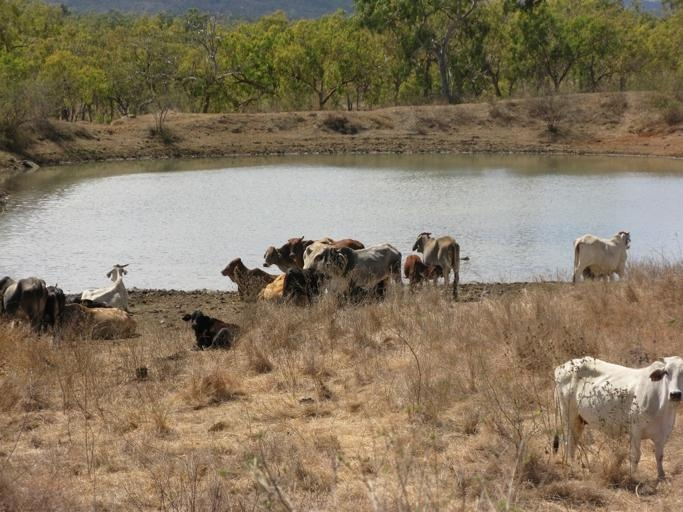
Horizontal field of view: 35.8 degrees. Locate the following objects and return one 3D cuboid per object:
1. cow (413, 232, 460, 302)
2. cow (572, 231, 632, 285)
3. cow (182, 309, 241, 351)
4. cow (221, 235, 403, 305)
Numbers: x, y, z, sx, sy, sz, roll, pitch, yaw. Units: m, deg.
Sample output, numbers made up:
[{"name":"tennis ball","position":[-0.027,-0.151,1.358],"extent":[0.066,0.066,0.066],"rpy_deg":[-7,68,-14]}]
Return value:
[{"name":"cow","position":[4.178,0.311,44.543],"extent":[0.800,2.451,2.610],"rpy_deg":[-7,10,-39]},{"name":"cow","position":[11.276,0.113,44.384],"extent":[3.017,2.397,1.037],"rpy_deg":[-1,0,-24]},{"name":"cow","position":[-5.113,2.923,40.612],"extent":[2.043,1.205,1.375],"rpy_deg":[3,1,2]},{"name":"cow","position":[-2.922,0.532,44.583],"extent":[4.523,2.381,2.829],"rpy_deg":[-4,9,-18]}]
